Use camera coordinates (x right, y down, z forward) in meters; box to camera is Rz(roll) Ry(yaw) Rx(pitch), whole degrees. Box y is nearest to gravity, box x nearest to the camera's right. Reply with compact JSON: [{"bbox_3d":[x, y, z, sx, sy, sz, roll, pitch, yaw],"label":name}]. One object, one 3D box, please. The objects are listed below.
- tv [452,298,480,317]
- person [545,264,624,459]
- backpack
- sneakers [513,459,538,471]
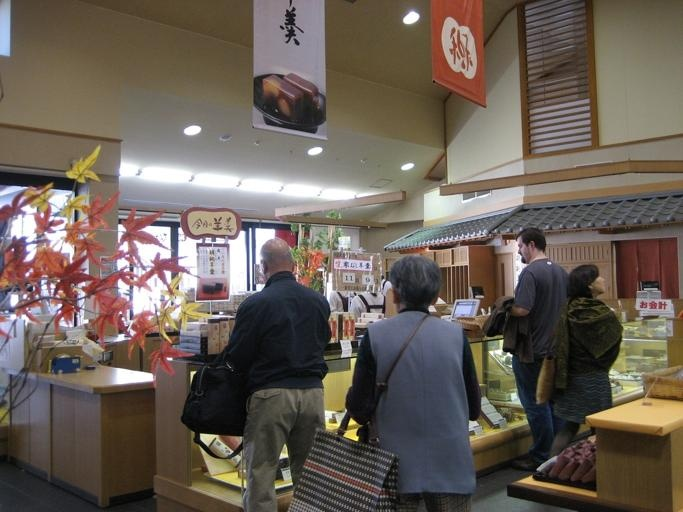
[{"bbox_3d":[1.149,0.496,4.895,0.259,0.152,0.261,0,13,19],"label":"tv"},{"bbox_3d":[1.700,0.723,3.672,0.458,1.318,0.455,-2,-2,26],"label":"person"},{"bbox_3d":[-0.694,0.818,2.789,0.311,0.465,0.417,9,1,-23],"label":"backpack"},{"bbox_3d":[1.521,1.747,4.399,0.207,0.089,0.077,0,-4,44],"label":"sneakers"}]
